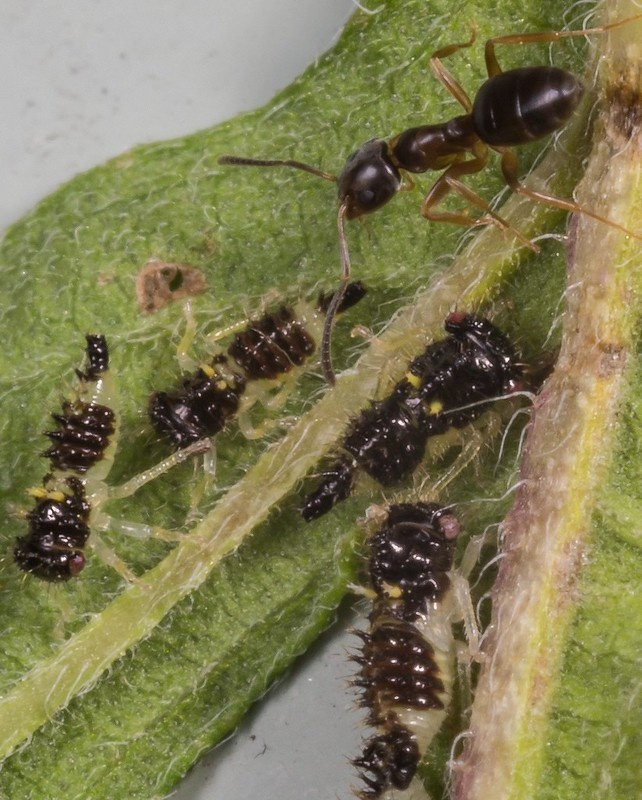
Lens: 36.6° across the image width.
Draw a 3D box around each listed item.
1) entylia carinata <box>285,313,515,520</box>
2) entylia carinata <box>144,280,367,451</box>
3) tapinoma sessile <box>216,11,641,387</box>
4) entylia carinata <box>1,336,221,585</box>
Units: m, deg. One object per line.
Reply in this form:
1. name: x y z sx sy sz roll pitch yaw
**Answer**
1. entylia carinata: 0.448 0.057 4.310 1.162 0.515 0.340 -43 -9 16
2. entylia carinata: -0.300 -0.142 4.304 0.622 0.585 1.060 4 24 36
3. tapinoma sessile: 0.633 -0.931 3.940 1.478 0.834 0.923 -23 36 12
4. entylia carinata: -0.936 0.280 4.437 0.934 0.385 1.021 10 85 5
